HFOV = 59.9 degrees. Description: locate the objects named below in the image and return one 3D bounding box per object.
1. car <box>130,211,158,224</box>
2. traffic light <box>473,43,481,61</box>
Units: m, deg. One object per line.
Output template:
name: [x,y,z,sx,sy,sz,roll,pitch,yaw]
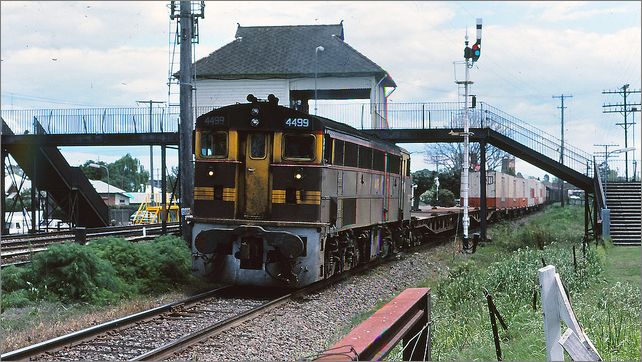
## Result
car: [-14.036,2.929,44.341,1.685,1.245,2.625,1,-3,-23]
traffic light: [7.632,-6.396,27.449,0.307,0.827,1.243,-3,1,11]
